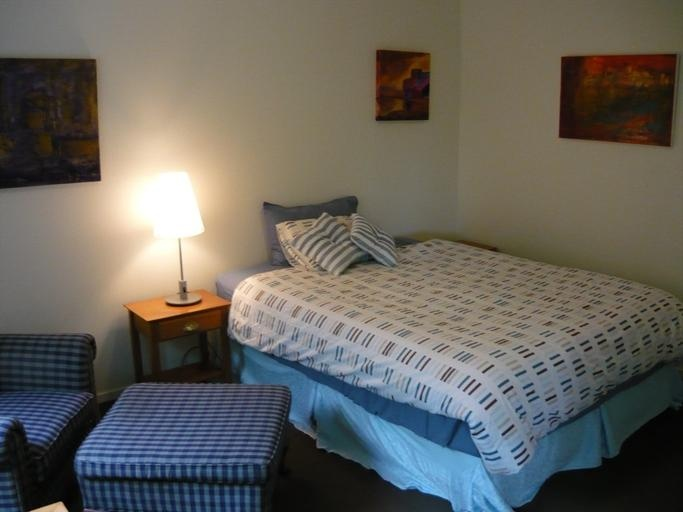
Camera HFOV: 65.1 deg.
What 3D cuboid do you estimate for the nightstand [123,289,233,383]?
[{"bbox_3d":[-1.079,0.616,3.634,0.605,0.622,0.460,-8,11,-36],"label":"nightstand"}]

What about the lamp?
[{"bbox_3d":[-1.076,-0.122,3.566,0.305,0.860,0.418,-5,15,-20],"label":"lamp"}]
